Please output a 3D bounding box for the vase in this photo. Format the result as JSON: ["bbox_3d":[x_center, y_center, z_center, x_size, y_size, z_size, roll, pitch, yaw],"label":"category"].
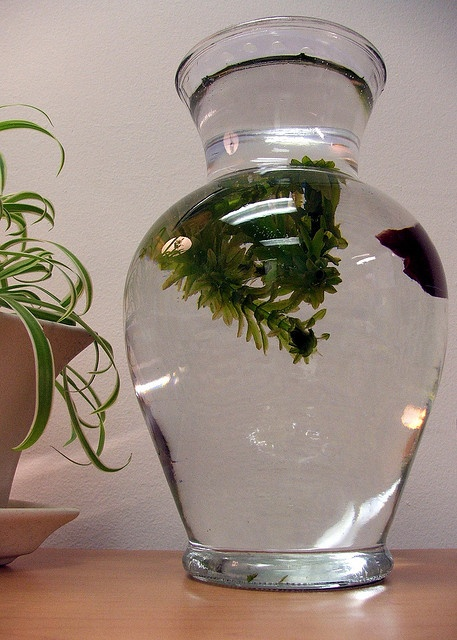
[{"bbox_3d":[0.039,-0.023,0.486,0.223,0.331,0.316,-3,31,0],"label":"vase"}]
